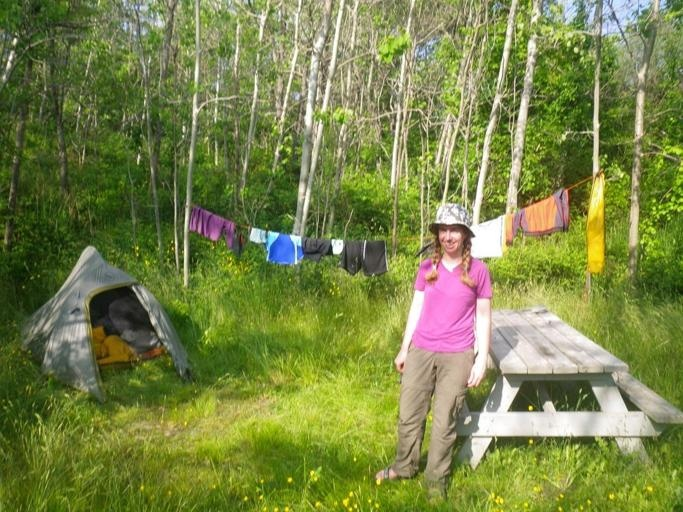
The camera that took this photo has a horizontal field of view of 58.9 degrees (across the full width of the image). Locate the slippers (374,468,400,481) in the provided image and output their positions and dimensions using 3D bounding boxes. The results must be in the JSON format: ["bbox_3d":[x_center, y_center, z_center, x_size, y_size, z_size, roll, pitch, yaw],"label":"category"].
[{"bbox_3d":[0.556,2.628,7.357,0.236,0.116,0.138,1,2,22],"label":"slippers"}]

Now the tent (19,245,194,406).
[{"bbox_3d":[-4.103,0.981,10.237,2.270,2.183,2.378,0,5,-38],"label":"tent"}]

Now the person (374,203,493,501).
[{"bbox_3d":[1.093,1.126,7.212,1.063,3.733,0.824,6,16,14],"label":"person"}]
